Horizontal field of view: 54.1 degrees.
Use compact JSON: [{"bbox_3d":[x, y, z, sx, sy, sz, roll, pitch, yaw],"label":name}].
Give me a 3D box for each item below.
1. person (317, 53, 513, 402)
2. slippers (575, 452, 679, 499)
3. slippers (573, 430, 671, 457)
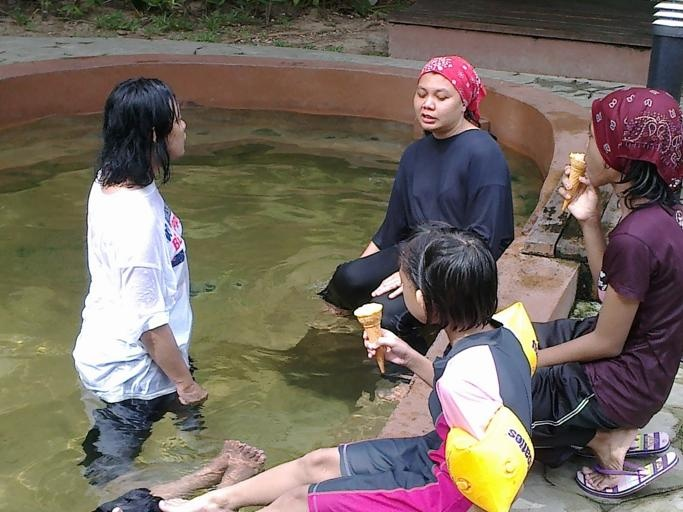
[{"bbox_3d":[0.446,-0.188,4.142,1.432,1.810,0.799,-12,19,-5],"label":"person"},{"bbox_3d":[1.205,0.928,2.821,0.429,0.098,0.175,-17,33,9],"label":"slippers"},{"bbox_3d":[1.267,0.817,2.966,0.446,0.113,0.131,-11,43,13],"label":"slippers"}]
